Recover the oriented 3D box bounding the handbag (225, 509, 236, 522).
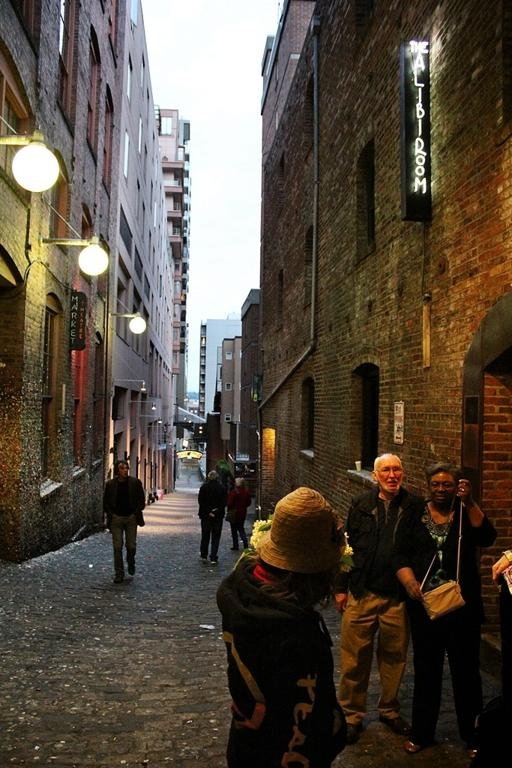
[{"bbox_3d":[-0.486,2.516,11.461,0.194,0.328,0.165,0,-2,-9],"label":"handbag"}]

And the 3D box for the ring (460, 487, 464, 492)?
[{"bbox_3d":[1.060,0.538,3.045,0.015,0.018,0.016,1,1,0],"label":"ring"}]

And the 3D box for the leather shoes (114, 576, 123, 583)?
[{"bbox_3d":[-1.827,2.577,7.870,0.111,0.089,0.150,4,-9,-16],"label":"leather shoes"}]

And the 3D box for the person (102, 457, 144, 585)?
[{"bbox_3d":[-1.921,1.932,8.568,0.568,1.591,1.507,3,-9,-12],"label":"person"}]

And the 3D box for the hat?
[{"bbox_3d":[0.125,0.399,1.646,0.191,0.164,0.233,3,29,-9],"label":"hat"}]

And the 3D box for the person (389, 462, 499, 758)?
[{"bbox_3d":[0.949,1.115,3.044,0.494,1.398,0.442,-4,-9,32],"label":"person"}]

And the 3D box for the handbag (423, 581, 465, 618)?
[{"bbox_3d":[0.913,1.051,2.910,0.169,0.163,0.138,4,-9,-18],"label":"handbag"}]
